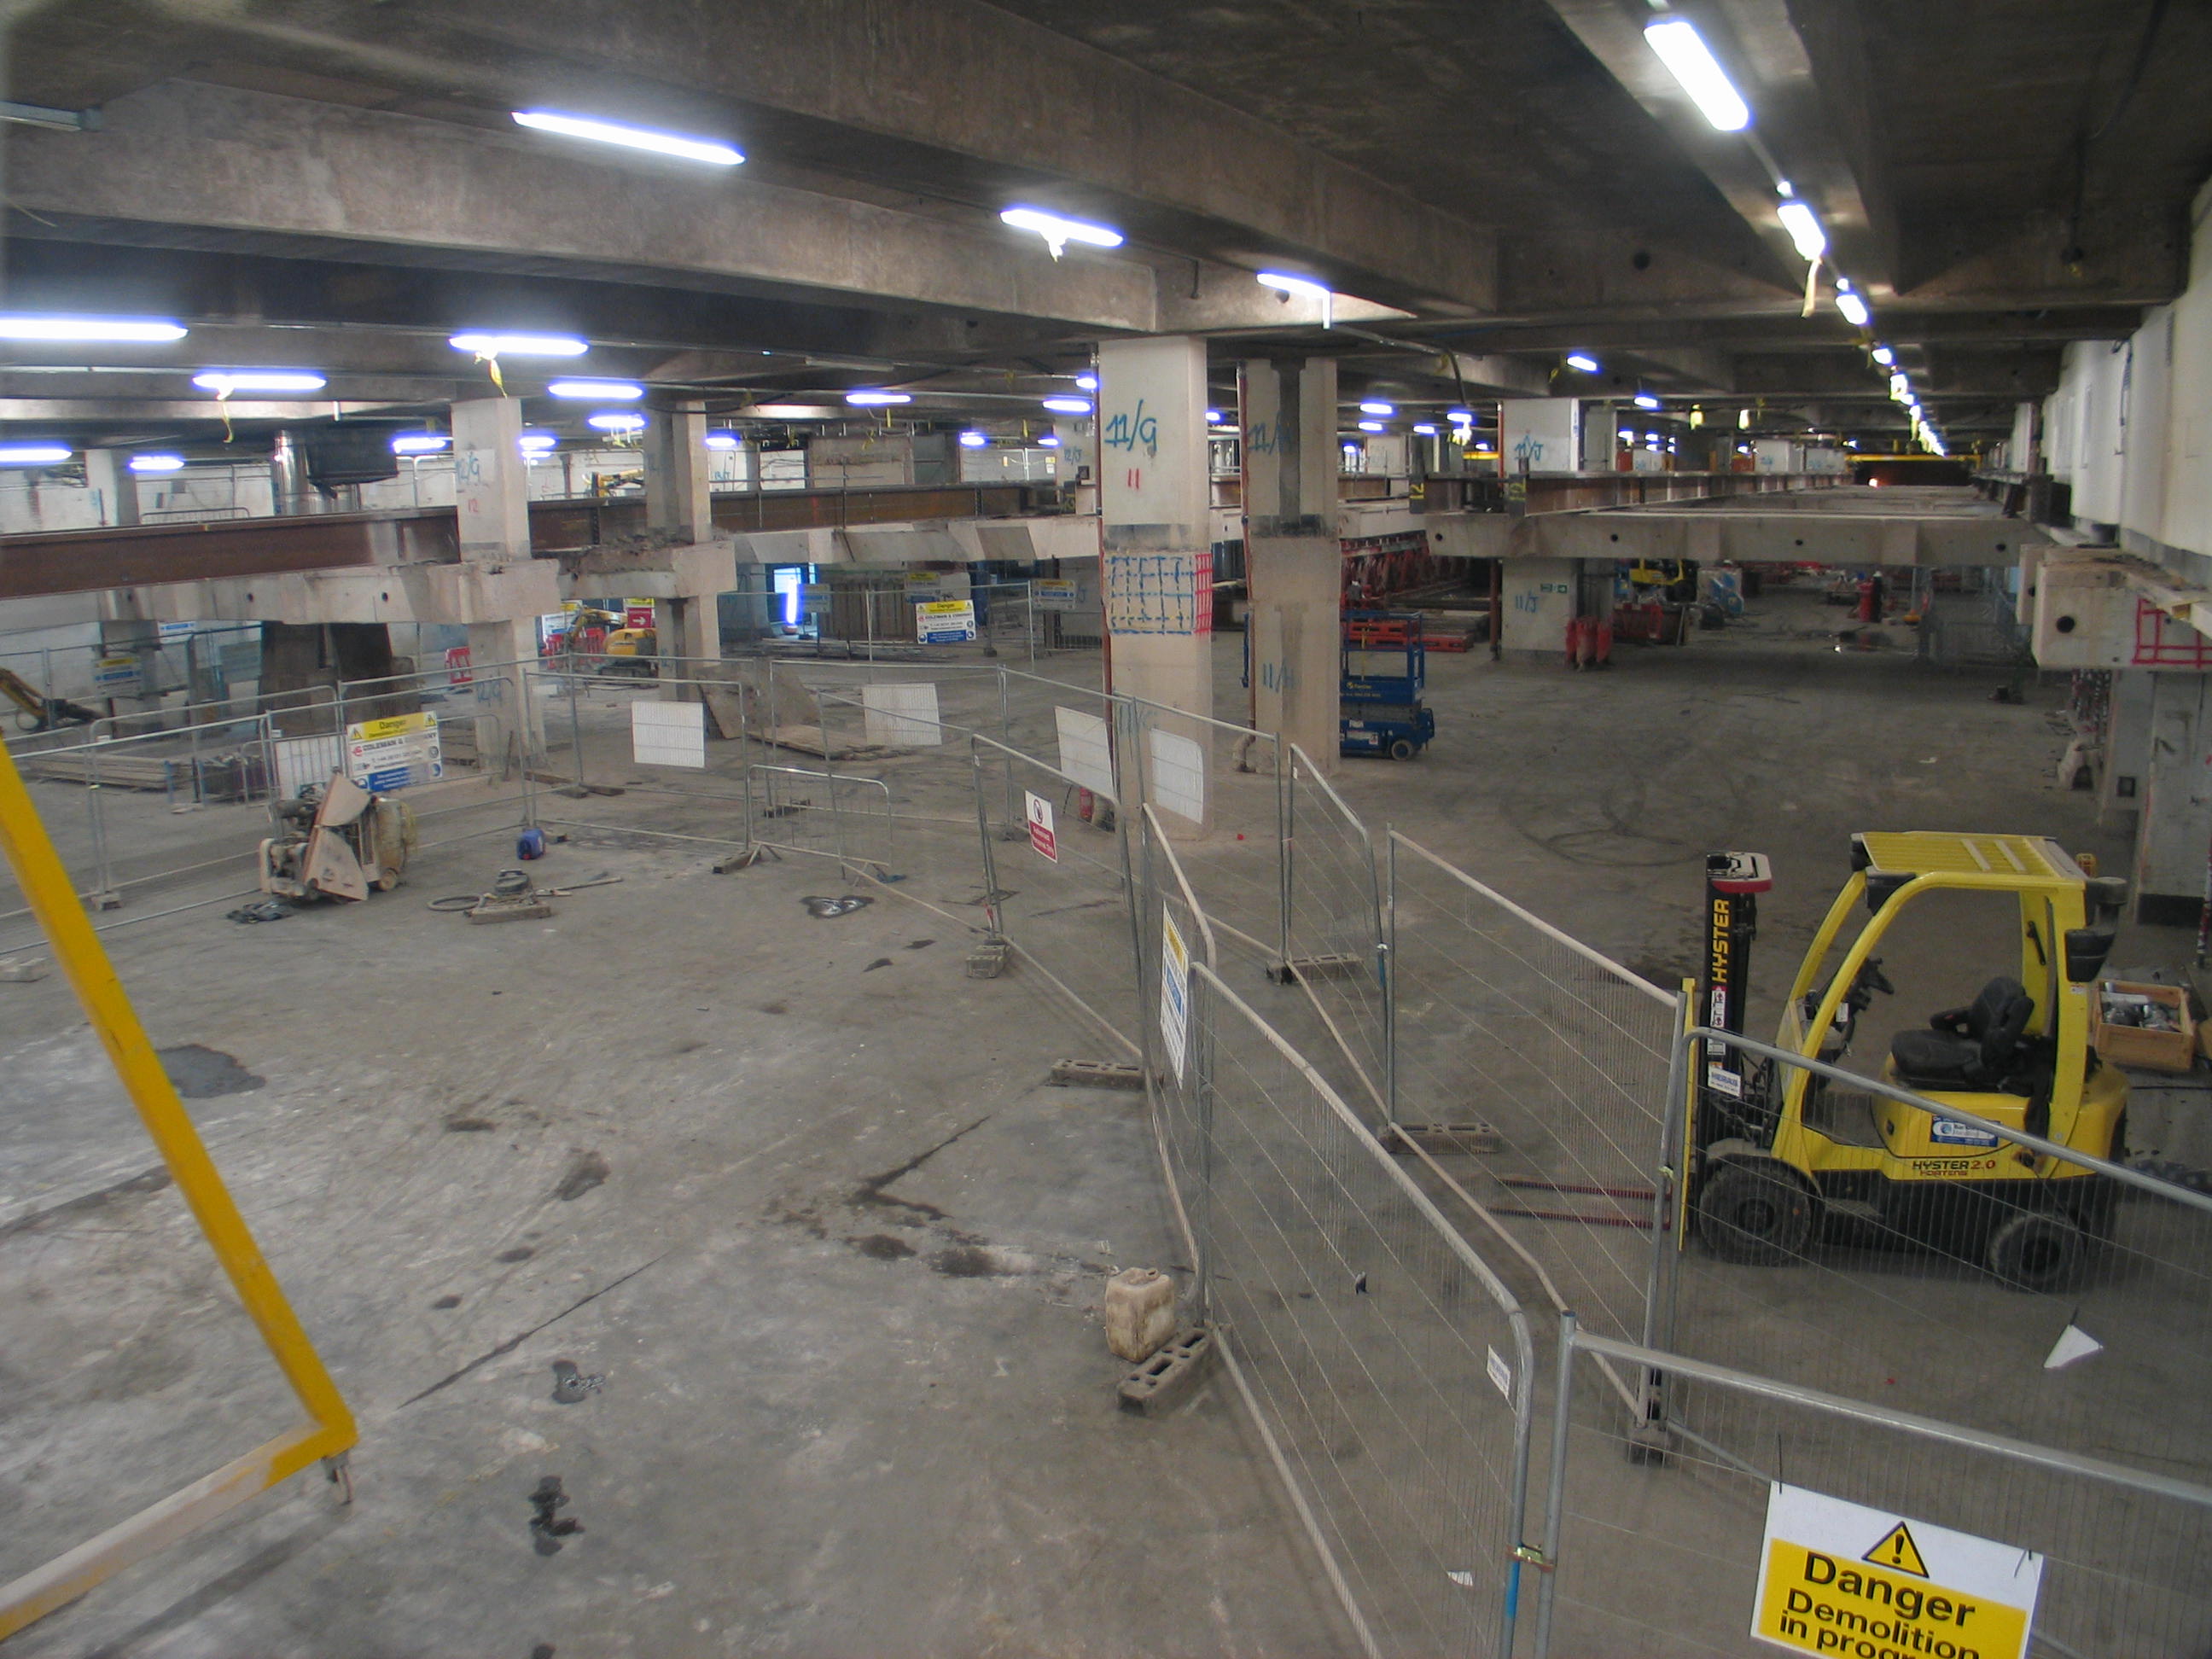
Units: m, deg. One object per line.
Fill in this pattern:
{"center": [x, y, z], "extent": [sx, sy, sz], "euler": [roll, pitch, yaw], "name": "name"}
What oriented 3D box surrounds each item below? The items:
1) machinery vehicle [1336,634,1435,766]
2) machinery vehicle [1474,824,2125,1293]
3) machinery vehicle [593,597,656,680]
{"center": [4.728, -2.162, 26.857], "extent": [1.475, 1.834, 1.057], "euler": [-2, 11, 8], "name": "machinery vehicle"}
{"center": [5.180, 1.401, 10.244], "extent": [2.566, 2.403, 1.633], "euler": [5, 13, 22], "name": "machinery vehicle"}
{"center": [-15.127, -6.216, 49.847], "extent": [1.546, 1.906, 18.405], "euler": [-7, 10, -16], "name": "machinery vehicle"}
